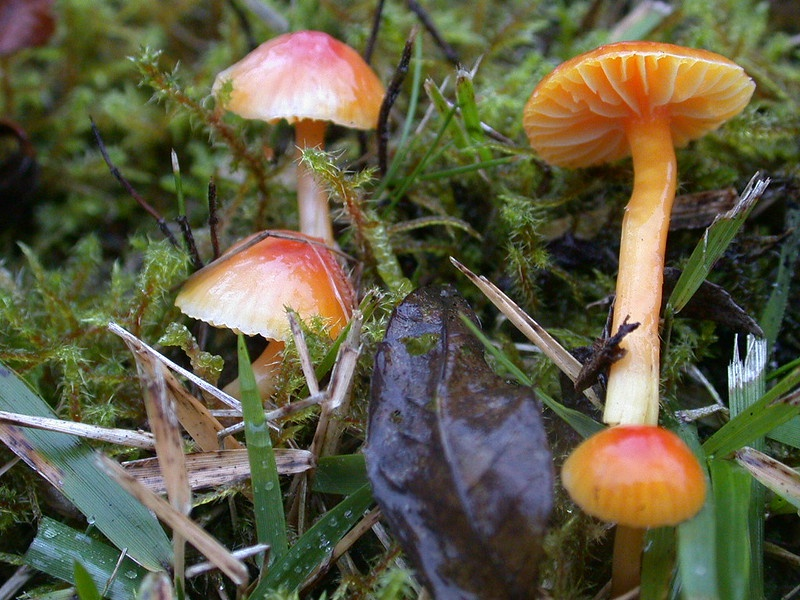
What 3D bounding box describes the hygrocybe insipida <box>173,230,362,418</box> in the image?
[{"bbox_3d":[-0.351,0.003,1.972,0.457,0.182,0.320,-23,48,-4],"label":"hygrocybe insipida"}]
